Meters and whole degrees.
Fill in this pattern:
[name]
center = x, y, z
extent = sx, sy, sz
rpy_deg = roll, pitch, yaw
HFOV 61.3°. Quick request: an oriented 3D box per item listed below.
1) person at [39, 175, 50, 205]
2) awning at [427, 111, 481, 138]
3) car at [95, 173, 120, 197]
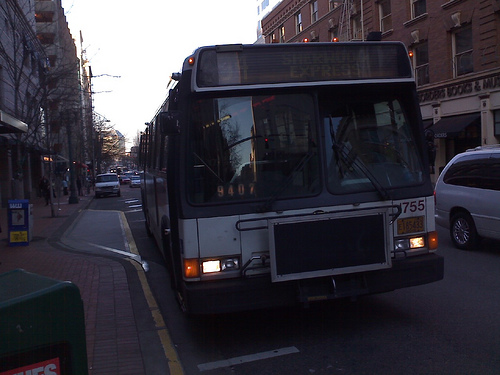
[person]
center = -15.225, 0.241, 31.280
extent = 0.627, 1.696, 2.391
rpy_deg = -3, 3, -28
[awning]
center = 11.209, -3.375, 22.940
extent = 1.107, 1.036, 2.969
rpy_deg = -22, 9, -14
[car]
center = -13.066, -0.115, 38.566
extent = 2.114, 1.451, 1.848
rpy_deg = -4, 3, -24
